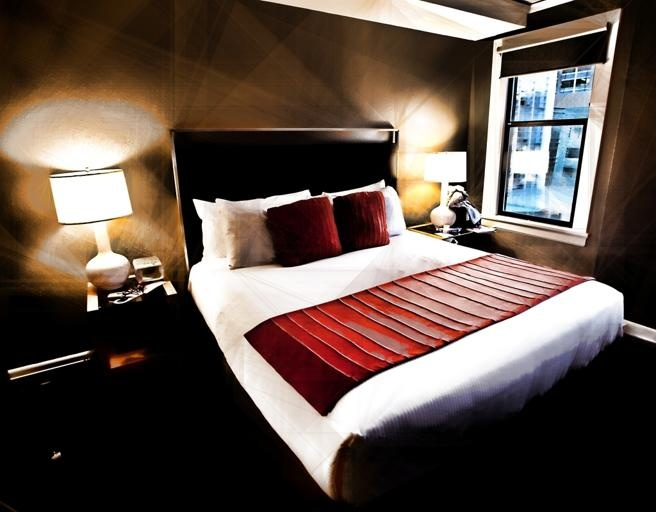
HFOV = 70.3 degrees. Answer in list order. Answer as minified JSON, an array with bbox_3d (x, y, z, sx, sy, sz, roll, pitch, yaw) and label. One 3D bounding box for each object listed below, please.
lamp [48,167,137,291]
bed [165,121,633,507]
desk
[{"bbox_3d":[-1.662,-0.176,3.416,0.499,0.884,0.474,-14,15,-34],"label":"lamp"},{"bbox_3d":[0.161,0.443,3.428,2.454,2.122,2.583,-9,18,-30],"label":"bed"},{"bbox_3d":[-1.293,0.508,3.378,0.725,0.798,0.564,-2,17,-15],"label":"desk"}]
